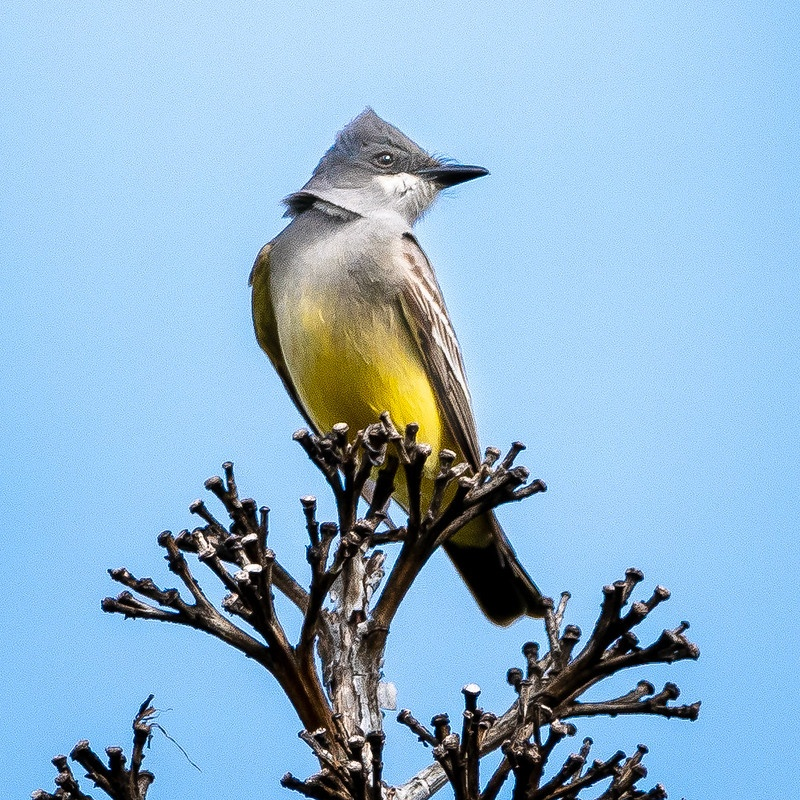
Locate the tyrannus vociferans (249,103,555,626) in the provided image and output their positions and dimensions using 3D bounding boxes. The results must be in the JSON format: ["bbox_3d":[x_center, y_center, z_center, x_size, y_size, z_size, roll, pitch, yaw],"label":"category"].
[{"bbox_3d":[0.006,-0.169,7.374,1.315,1.008,2.483,2,-91,8],"label":"tyrannus vociferans"}]
